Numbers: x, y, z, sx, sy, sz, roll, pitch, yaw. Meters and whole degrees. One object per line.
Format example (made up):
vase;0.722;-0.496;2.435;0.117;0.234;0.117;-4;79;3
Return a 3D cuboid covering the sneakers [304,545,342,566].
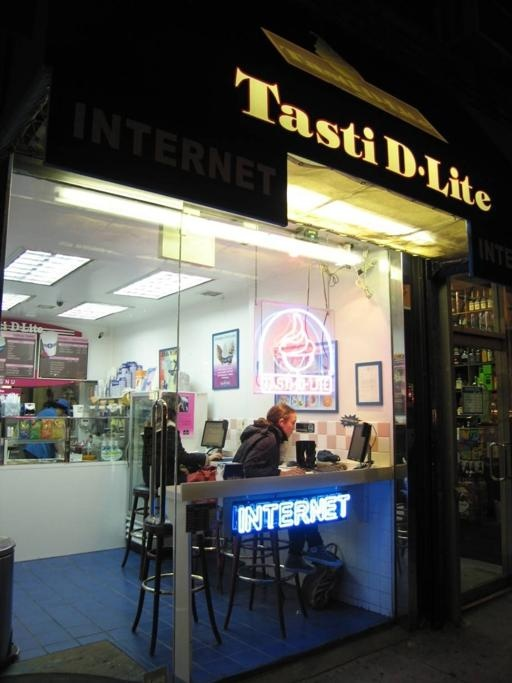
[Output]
sneakers;0.464;1.519;3.970;0.342;0.151;0.117;2;-7;2

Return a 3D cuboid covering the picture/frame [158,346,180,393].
picture/frame;-0.449;0.140;2.834;0.039;0.231;0.114;-1;-7;45

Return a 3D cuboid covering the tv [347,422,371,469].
tv;0.751;0.755;3.991;0.115;0.283;0.235;8;-13;-15

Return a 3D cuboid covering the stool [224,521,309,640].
stool;0.053;1.539;3.745;0.494;0.653;0.481;2;-7;-22

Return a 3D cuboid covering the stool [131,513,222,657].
stool;-0.402;1.224;2.817;0.444;0.556;0.449;-14;-17;32

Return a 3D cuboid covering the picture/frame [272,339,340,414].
picture/frame;0.369;0.246;4.148;0.485;0.572;0.024;9;17;16

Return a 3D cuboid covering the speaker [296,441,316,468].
speaker;0.358;0.803;3.946;0.161;0.221;0.151;2;-7;0

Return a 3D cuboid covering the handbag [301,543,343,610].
handbag;0.457;1.669;3.900;0.172;0.420;0.300;0;-25;33

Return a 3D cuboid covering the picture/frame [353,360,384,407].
picture/frame;0.843;0.315;4.105;0.040;0.423;0.294;11;-13;-33

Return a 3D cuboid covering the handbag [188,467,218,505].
handbag;-0.305;0.827;3.175;0.116;0.221;0.225;2;-1;42
